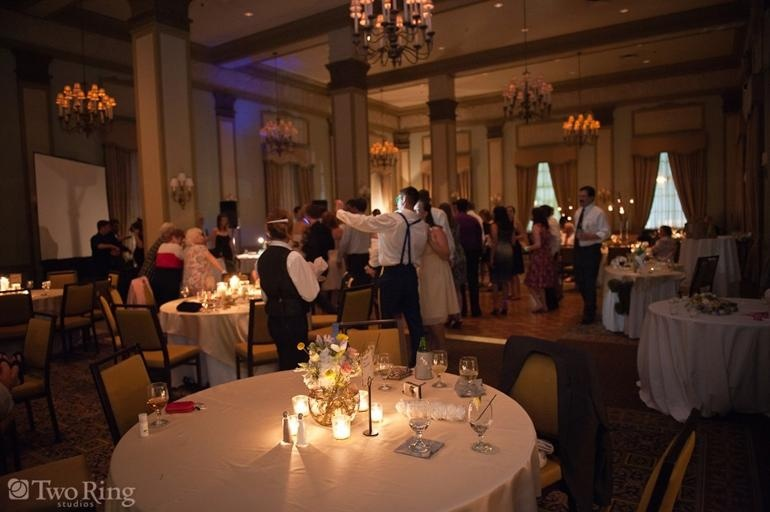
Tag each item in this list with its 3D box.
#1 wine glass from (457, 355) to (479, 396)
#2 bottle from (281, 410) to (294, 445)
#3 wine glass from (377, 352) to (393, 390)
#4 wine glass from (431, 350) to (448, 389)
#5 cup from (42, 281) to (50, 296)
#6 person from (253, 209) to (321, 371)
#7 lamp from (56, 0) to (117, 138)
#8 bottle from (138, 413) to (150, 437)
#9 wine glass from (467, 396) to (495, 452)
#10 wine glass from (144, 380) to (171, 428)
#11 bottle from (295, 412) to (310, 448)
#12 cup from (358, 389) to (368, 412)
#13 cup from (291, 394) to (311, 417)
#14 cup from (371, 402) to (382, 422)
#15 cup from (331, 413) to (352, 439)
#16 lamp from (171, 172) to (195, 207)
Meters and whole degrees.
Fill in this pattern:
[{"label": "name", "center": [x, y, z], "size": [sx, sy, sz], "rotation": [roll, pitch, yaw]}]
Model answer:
[{"label": "wine glass", "center": [0.743, 1.094, 5.296], "size": [0.163, 0.364, 0.408], "rotation": [-1, 3, 7]}, {"label": "bottle", "center": [-0.822, 1.455, 5.008], "size": [0.090, 0.266, 0.081], "rotation": [-1, 3, -5]}, {"label": "wine glass", "center": [-0.011, 1.078, 5.553], "size": [0.119, 0.345, 0.190], "rotation": [-1, 3, -2]}, {"label": "wine glass", "center": [0.514, 1.046, 5.560], "size": [0.130, 0.352, 0.286], "rotation": [-1, 3, 6]}, {"label": "cup", "center": [-5.616, 0.523, 9.815], "size": [0.134, 0.214, 0.071], "rotation": [2, 17, -8]}, {"label": "person", "center": [-1.099, 0.403, 6.678], "size": [0.664, 1.816, 0.321], "rotation": [-2, 3, -12]}, {"label": "lamp", "center": [-5.849, -3.410, 11.463], "size": [0.866, 2.021, 0.927], "rotation": [1, 4, 42]}, {"label": "bottle", "center": [-2.105, 1.459, 5.171], "size": [0.084, 0.184, 0.198], "rotation": [-3, 3, -23]}, {"label": "wine glass", "center": [0.814, 1.383, 5.021], "size": [0.200, 0.443, 0.378], "rotation": [-1, 3, 10]}, {"label": "wine glass", "center": [-2.021, 1.302, 5.282], "size": [0.150, 0.378, 0.259], "rotation": [-2, 3, -20]}, {"label": "bottle", "center": [-0.715, 1.458, 5.055], "size": [0.101, 0.268, 0.216], "rotation": [-2, 3, -9]}, {"label": "cup", "center": [-0.191, 1.284, 5.263], "size": [0.136, 0.176, 0.146], "rotation": [1, 7, 0]}, {"label": "cup", "center": [-0.732, 1.296, 5.183], "size": [0.143, 0.166, 0.164], "rotation": [3, 11, 11]}, {"label": "cup", "center": [-0.068, 1.369, 5.187], "size": [0.118, 0.152, 0.126], "rotation": [0, 7, 0]}, {"label": "cup", "center": [-0.366, 1.446, 5.020], "size": [0.172, 0.190, 0.163], "rotation": [-3, 0, 0]}, {"label": "lamp", "center": [-3.623, -1.188, 10.546], "size": [0.509, 0.780, 0.220], "rotation": [-4, 16, -26]}]
